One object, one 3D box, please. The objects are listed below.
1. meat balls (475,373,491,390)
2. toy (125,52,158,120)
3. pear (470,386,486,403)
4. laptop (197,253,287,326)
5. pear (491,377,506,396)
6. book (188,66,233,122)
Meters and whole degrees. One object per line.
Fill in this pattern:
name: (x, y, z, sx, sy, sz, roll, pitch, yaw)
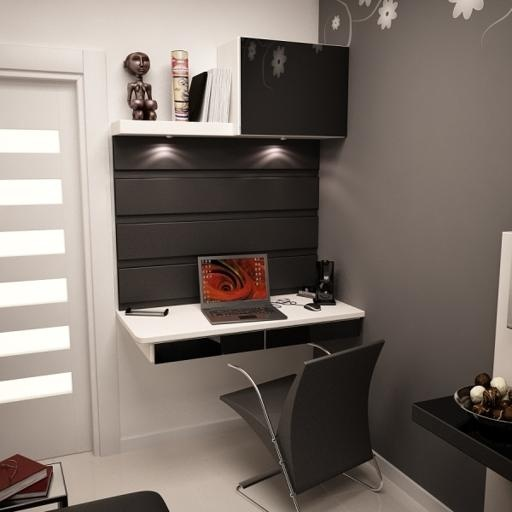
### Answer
meat balls: (0.812, 0.446, 1.583, 0.040, 0.054, 0.047, -1, -3, -3)
toy: (-0.620, -0.908, 2.372, 0.174, 0.389, 0.211, -2, 5, -17)
pear: (0.745, 0.470, 1.497, 0.033, 0.057, 0.047, -10, 47, -4)
laptop: (-0.096, 0.199, 2.495, 0.371, 0.356, 0.359, -3, 11, -22)
pear: (0.824, 0.443, 1.510, 0.037, 0.072, 0.052, -2, -19, 0)
book: (-0.265, -0.854, 2.388, 0.273, 0.277, 0.131, 3, 6, 32)
